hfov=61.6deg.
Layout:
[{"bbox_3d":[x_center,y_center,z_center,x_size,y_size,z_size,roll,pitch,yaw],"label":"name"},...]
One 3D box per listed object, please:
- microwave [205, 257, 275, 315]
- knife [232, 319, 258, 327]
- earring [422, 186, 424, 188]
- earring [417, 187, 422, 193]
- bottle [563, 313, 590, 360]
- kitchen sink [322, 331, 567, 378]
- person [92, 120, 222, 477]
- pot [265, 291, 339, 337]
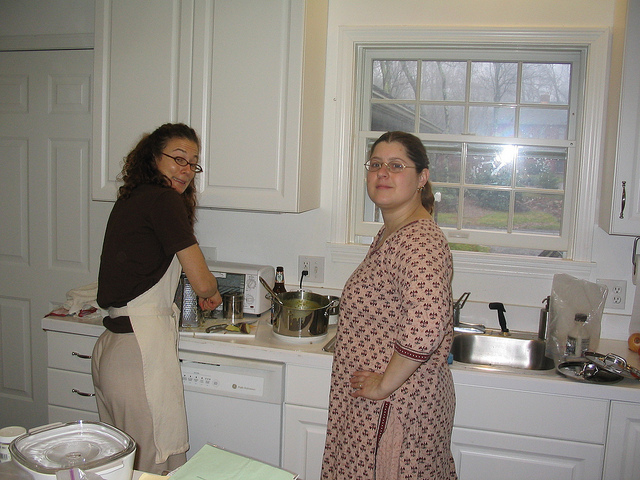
[{"bbox_3d":[-0.472,0.259,2.958,0.366,0.250,0.245,6,10,16],"label":"microwave"},{"bbox_3d":[-0.386,0.424,2.756,0.082,0.009,0.172,4,7,37],"label":"knife"},{"bbox_3d":[0.385,-0.208,2.073,0.006,0.006,0.006,-6,27,-7],"label":"earring"},{"bbox_3d":[0.368,-0.194,2.055,0.013,0.018,0.005,2,-12,-2],"label":"earring"},{"bbox_3d":[1.207,0.459,2.568,0.111,0.216,0.081,3,6,25],"label":"bottle"},{"bbox_3d":[0.845,0.569,2.543,0.480,0.169,0.423,2,6,13],"label":"kitchen sink"},{"bbox_3d":[-0.716,0.259,2.283,0.534,1.507,0.262,-1,6,-11],"label":"person"},{"bbox_3d":[-0.079,0.359,2.634,0.318,0.184,0.243,0,5,2],"label":"pot"}]
